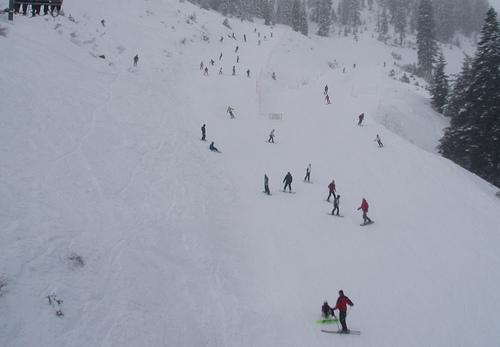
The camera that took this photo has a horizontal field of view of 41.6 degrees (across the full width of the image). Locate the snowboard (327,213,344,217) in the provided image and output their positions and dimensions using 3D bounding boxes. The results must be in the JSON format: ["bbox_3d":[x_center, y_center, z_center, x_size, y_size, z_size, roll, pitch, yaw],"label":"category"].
[{"bbox_3d":[8.980,4.363,69.235,1.072,0.209,0.122,10,-9,15],"label":"snowboard"}]

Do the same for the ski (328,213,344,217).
[{"bbox_3d":[9.101,4.376,69.161,1.593,0.188,0.220,8,21,2],"label":"ski"}]

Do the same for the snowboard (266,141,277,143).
[{"bbox_3d":[2.529,-3.712,78.543,1.494,0.195,0.134,6,-9,-5],"label":"snowboard"}]

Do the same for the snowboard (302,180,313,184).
[{"bbox_3d":[6.404,0.932,73.065,1.398,0.441,0.241,9,-3,22],"label":"snowboard"}]

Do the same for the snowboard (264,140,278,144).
[{"bbox_3d":[2.471,-3.675,78.478,1.193,0.135,0.156,13,35,1],"label":"snowboard"}]

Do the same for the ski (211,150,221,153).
[{"bbox_3d":[-3.743,-2.439,74.214,1.078,0.254,0.227,0,21,-18],"label":"ski"}]
